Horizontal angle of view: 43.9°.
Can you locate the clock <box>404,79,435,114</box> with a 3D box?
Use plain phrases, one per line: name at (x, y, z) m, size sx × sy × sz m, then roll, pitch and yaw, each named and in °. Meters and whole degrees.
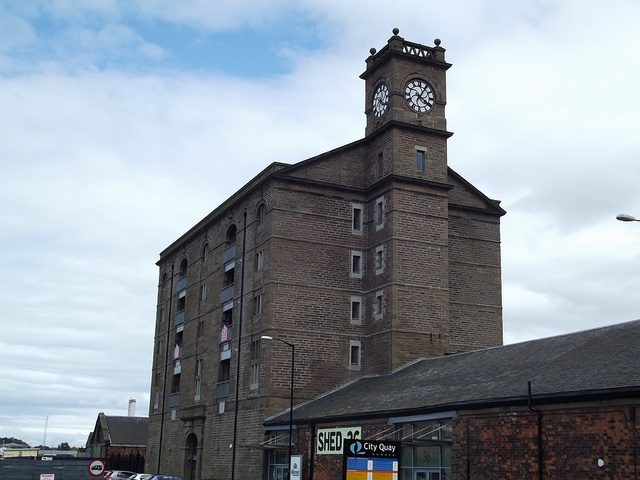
clock at (7.034, -10.242, 56.982) m, size 2.030 × 1.980 × 0.150 m, roll -37°, pitch -2°, yaw -17°
